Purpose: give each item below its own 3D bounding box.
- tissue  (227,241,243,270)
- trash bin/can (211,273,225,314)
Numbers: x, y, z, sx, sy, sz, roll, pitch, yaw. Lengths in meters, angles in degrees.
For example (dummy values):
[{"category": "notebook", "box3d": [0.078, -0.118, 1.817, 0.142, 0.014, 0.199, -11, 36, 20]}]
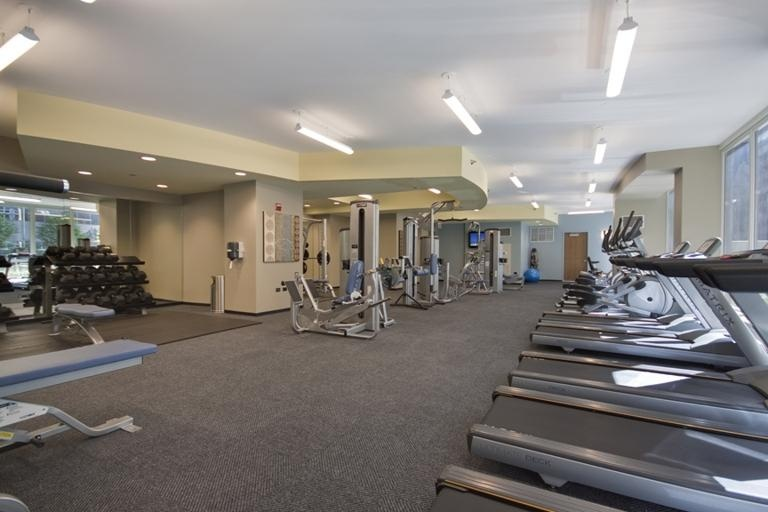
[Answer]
[{"category": "tissue ", "box3d": [-2.797, -0.022, 8.416, 0.460, 0.502, 0.238, -1, -1, 44]}, {"category": "trash bin/can", "box3d": [-3.134, 0.721, 8.597, 0.217, 0.691, 0.192, 0, 0, -19]}]
